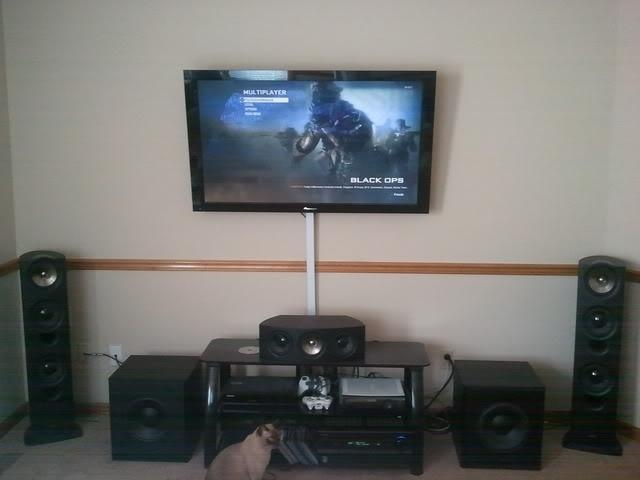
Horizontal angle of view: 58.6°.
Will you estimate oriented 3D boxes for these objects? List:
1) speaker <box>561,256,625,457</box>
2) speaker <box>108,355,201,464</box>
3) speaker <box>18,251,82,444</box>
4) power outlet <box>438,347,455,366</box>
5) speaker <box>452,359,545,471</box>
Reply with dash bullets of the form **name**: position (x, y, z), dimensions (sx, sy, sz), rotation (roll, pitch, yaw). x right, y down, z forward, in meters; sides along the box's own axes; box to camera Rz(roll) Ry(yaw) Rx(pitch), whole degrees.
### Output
- **speaker**: position (1.286, 0.545, 2.629), dimensions (0.240, 0.881, 0.188), rotation (5, 10, 24)
- **speaker**: position (-0.758, 0.813, 2.842), dimensions (0.435, 0.423, 0.435), rotation (0, 3, -2)
- **speaker**: position (-1.277, 0.502, 2.771), dimensions (0.367, 0.935, 0.302), rotation (-4, 11, -24)
- **power outlet**: position (0.654, 0.598, 2.912), dimensions (0.047, 0.088, 0.078), rotation (-7, 12, -41)
- **speaker**: position (0.822, 0.831, 2.795), dimensions (0.418, 0.410, 0.431), rotation (0, 5, 4)
